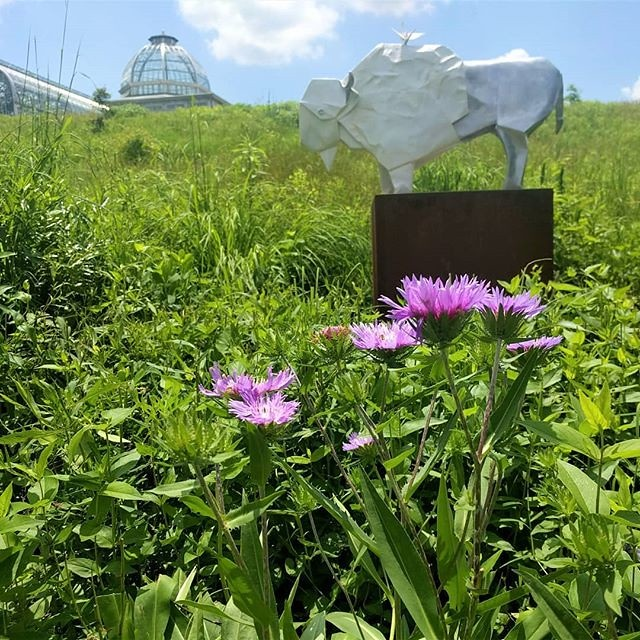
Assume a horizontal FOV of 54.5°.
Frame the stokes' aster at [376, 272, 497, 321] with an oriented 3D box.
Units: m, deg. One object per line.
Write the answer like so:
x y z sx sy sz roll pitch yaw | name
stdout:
0.241 -0.055 1.350 0.155 0.089 0.176 -8 -17 -1 | stokes' aster

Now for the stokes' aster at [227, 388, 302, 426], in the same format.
-0.093 0.138 0.976 0.109 0.061 0.122 4 7 5 | stokes' aster

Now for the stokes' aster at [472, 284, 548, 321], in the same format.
0.295 -0.024 0.964 0.065 0.037 0.072 -1 1 -8 | stokes' aster

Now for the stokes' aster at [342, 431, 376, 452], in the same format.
0.072 0.209 1.105 0.054 0.029 0.058 -7 13 36 | stokes' aster

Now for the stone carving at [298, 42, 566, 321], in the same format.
0.566 -1.225 4.769 2.323 2.374 0.932 2 8 14 | stone carving

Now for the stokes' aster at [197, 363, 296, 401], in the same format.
-0.111 0.104 1.004 0.085 0.038 0.083 0 -4 -42 | stokes' aster
